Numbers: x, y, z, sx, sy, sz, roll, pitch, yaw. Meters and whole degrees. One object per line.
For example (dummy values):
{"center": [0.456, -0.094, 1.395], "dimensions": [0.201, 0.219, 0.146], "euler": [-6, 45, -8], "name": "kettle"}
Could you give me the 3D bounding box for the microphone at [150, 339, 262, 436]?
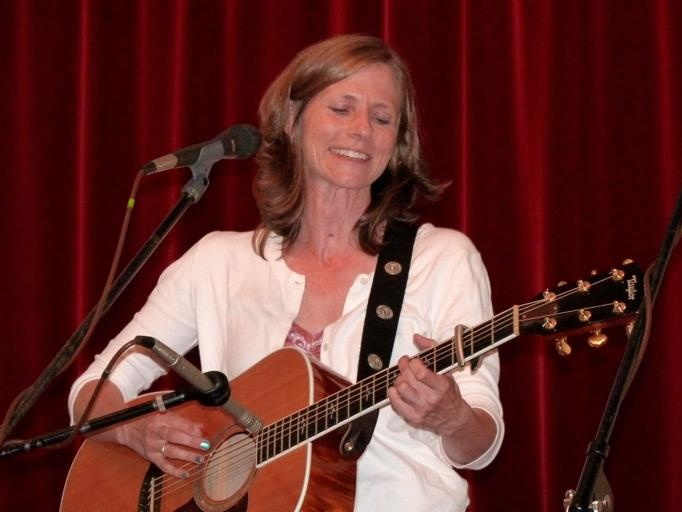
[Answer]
{"center": [-0.415, 0.424, 2.714], "dimensions": [0.405, 0.071, 0.079], "euler": [45, -40, -19], "name": "microphone"}
